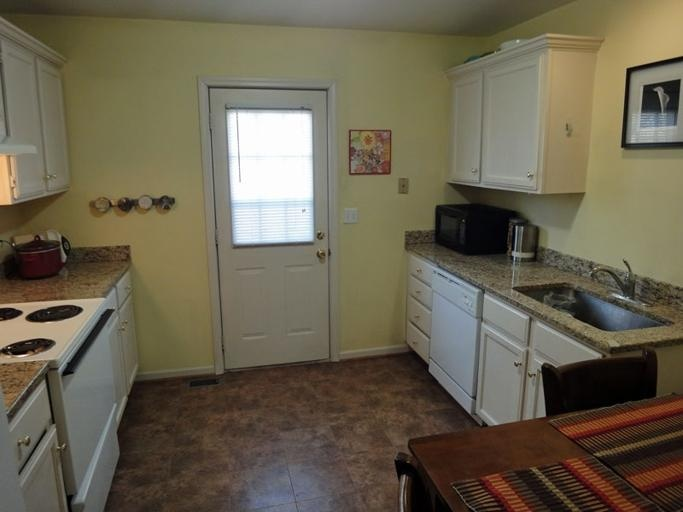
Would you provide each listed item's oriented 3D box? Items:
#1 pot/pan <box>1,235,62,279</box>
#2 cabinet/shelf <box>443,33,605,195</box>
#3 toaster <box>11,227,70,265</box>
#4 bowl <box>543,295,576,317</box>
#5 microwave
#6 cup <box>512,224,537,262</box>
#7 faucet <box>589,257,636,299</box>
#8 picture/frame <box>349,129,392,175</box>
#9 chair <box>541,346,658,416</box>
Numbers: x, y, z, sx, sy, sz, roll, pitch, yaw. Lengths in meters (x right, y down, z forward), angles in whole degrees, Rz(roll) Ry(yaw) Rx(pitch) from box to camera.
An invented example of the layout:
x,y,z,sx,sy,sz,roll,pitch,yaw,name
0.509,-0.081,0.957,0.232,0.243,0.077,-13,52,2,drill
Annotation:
x,y,z,sx,sy,sz,roll,pitch,yaw,name
-2.089,-0.024,3.399,0.339,0.252,0.249,-5,18,-27,pot/pan
1.203,-0.986,3.677,0.432,1.018,1.113,-5,10,-27,cabinet/shelf
-2.066,-0.052,3.460,0.220,0.169,0.291,19,25,39,toaster
1.377,0.291,3.136,0.129,0.042,0.163,-25,46,-31,bowl
1.059,-0.232,4.112,0.421,0.383,0.612,-4,15,-18,microwave
1.380,-0.126,3.729,0.166,0.309,0.190,0,21,15,cup
1.588,0.126,2.916,0.283,0.220,0.090,9,11,1,faucet
0.222,-0.876,4.091,0.343,0.383,0.014,-2,14,-10,picture/frame
1.066,0.564,2.221,0.320,0.381,0.599,-6,-21,10,chair
